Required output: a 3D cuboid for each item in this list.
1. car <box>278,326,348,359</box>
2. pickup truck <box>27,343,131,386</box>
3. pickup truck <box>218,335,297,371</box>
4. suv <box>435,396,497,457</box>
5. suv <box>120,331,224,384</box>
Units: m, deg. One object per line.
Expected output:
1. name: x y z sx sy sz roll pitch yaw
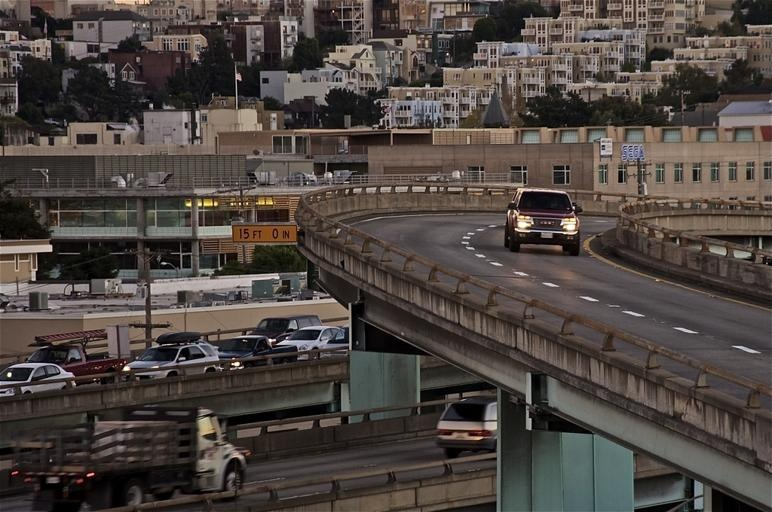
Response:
1. car: -4.156 4.666 84.050 1.655 1.079 3.291 -2 -1 33
2. pickup truck: -15.509 5.371 78.327 2.244 1.654 4.169 -2 -3 40
3. pickup truck: -7.178 5.246 83.092 2.483 1.876 4.756 0 4 37
4. suv: 3.501 7.287 67.520 1.661 1.350 3.083 1 6 21
5. suv: -10.829 5.160 78.981 2.345 1.771 3.539 -1 -3 43
